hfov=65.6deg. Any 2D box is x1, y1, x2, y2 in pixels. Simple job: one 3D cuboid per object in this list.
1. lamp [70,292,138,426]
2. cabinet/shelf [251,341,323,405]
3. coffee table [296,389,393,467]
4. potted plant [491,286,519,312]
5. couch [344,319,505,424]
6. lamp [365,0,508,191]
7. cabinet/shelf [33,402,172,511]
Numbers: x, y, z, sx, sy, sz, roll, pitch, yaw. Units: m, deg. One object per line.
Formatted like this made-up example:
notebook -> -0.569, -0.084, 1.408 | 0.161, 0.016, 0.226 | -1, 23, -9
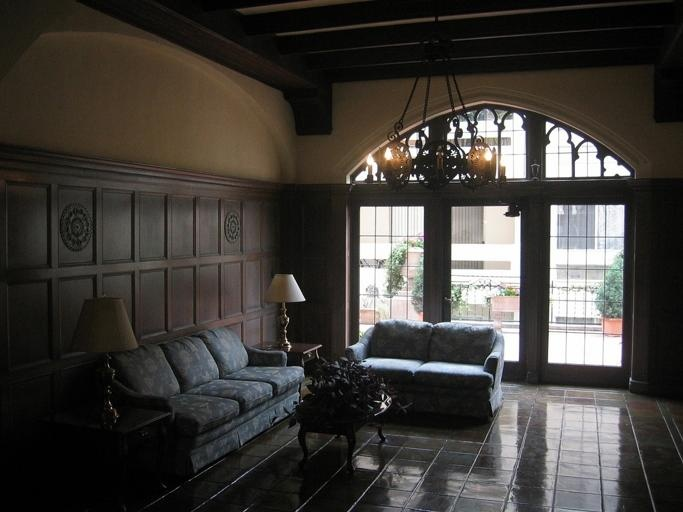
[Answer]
lamp -> -2.085, 0.888, 4.615 | 0.470, 1.090, 0.589 | -4, 7, -38
cabinet/shelf -> -0.761, 1.537, 7.427 | 0.722, 0.791, 0.788 | 0, 1, 19
coffee table -> -0.057, 1.603, 5.212 | 0.670, 0.403, 0.853 | -1, -2, 19
potted plant -> 2.486, 0.657, 8.067 | 0.519, 0.411, 0.314 | 0, -5, 9
couch -> 1.154, 1.445, 6.822 | 1.775, 0.993, 0.995 | 2, 6, 16
lamp -> 1.112, -1.946, 6.133 | 1.666, 2.357, 1.636 | 5, 7, 35
cabinet/shelf -> -2.059, 1.695, 4.774 | 0.896, 0.820, 0.645 | 2, 6, 20
